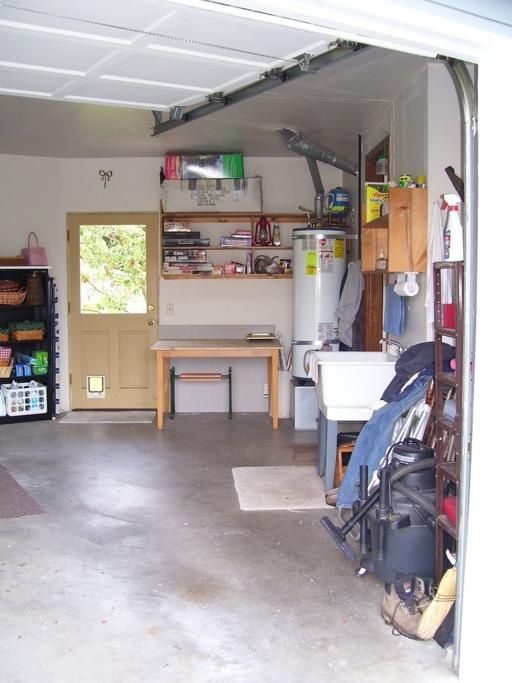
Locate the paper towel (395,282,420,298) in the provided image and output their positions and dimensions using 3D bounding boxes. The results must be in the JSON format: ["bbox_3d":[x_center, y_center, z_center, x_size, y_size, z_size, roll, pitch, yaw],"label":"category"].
[{"bbox_3d":[0.968,-0.343,3.665,0.088,0.073,0.192,-21,-1,3],"label":"paper towel"}]

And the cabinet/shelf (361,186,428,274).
[{"bbox_3d":[0.915,-0.736,3.662,0.163,0.340,0.678,1,4,-1],"label":"cabinet/shelf"}]

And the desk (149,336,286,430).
[{"bbox_3d":[-0.402,0.434,6.122,1.289,0.851,0.621,1,3,0],"label":"desk"}]

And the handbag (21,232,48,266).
[{"bbox_3d":[-2.472,-1.040,6.298,0.259,0.430,0.493,-1,3,-21],"label":"handbag"}]

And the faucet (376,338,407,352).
[{"bbox_3d":[1.023,0.029,4.279,0.084,0.093,0.251,-1,6,-13],"label":"faucet"}]

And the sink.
[{"bbox_3d":[0.627,0.293,3.927,0.417,0.295,0.609,0,0,-1],"label":"sink"}]

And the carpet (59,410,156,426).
[{"bbox_3d":[-1.652,0.856,6.354,1.078,0.024,0.719,0,3,0],"label":"carpet"}]
